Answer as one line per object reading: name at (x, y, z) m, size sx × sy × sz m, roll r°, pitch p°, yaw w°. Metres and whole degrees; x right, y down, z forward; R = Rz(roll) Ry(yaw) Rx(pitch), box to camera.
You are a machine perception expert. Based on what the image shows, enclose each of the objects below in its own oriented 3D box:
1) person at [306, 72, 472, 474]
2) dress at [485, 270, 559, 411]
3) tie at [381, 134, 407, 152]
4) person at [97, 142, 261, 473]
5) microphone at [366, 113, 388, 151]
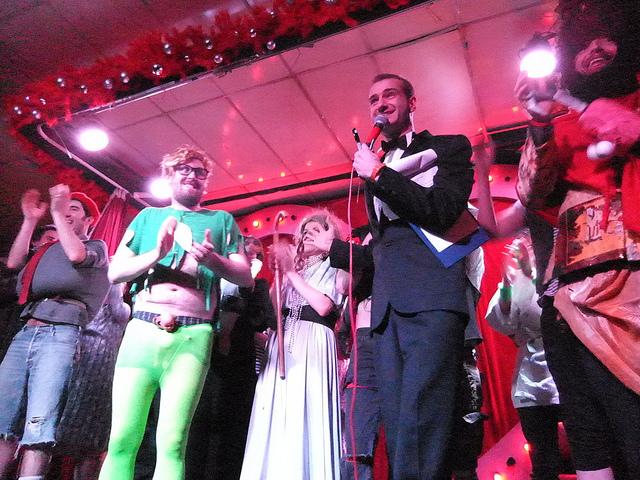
person at (0.369, 0.018, 2.041) m, size 0.589 × 1.869 × 0.679 m, roll 2°, pitch -33°, yaw 1°
dress at (0.989, 0.505, 2.243) m, size 0.259 × 0.634 × 0.286 m, roll 4°, pitch -4°, yaw 14°
tie at (0.353, -0.462, 2.155) m, size 0.113 × 0.041 × 0.102 m, roll -5°, pitch -24°, yaw 1°
person at (-0.684, 0.207, 2.253) m, size 0.493 × 1.734 × 0.526 m, roll -17°, pitch -38°, yaw 29°
microphone at (0.277, -0.502, 2.130) m, size 0.099 × 0.304 × 0.148 m, roll -4°, pitch -33°, yaw 12°
